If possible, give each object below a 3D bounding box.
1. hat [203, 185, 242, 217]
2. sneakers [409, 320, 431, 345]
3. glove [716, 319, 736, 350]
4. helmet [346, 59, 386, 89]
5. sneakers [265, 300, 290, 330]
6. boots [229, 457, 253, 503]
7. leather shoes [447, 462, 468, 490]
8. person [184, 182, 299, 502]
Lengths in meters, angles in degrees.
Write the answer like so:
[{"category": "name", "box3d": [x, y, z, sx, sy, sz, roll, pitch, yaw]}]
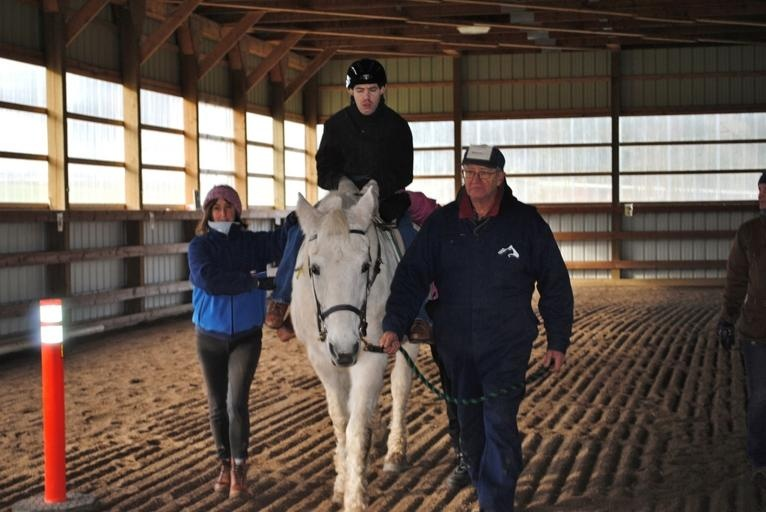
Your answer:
[{"category": "hat", "box3d": [-1.668, -0.613, 7.552, 0.254, 0.358, 0.386, 0, -33, 3]}, {"category": "sneakers", "box3d": [0.356, 0.753, 7.157, 0.229, 0.277, 0.191, 0, -6, -3]}, {"category": "glove", "box3d": [3.761, 0.855, 7.985, 0.166, 0.366, 0.085, 2, -4, 19]}, {"category": "helmet", "box3d": [-0.178, -1.887, 7.521, 0.378, 0.318, 0.318, 0, 6, 3]}, {"category": "sneakers", "box3d": [-1.113, 0.615, 7.519, 0.185, 0.323, 0.101, 10, 0, 14]}, {"category": "boots", "box3d": [-1.492, 2.271, 7.450, 0.158, 0.326, 0.471, 2, 5, -8]}, {"category": "leather shoes", "box3d": [0.779, 2.294, 7.544, 0.114, 0.178, 0.337, 2, 3, 27]}, {"category": "person", "box3d": [-1.527, 0.851, 7.517, 0.925, 3.127, 0.617, -2, 5, -18]}]
